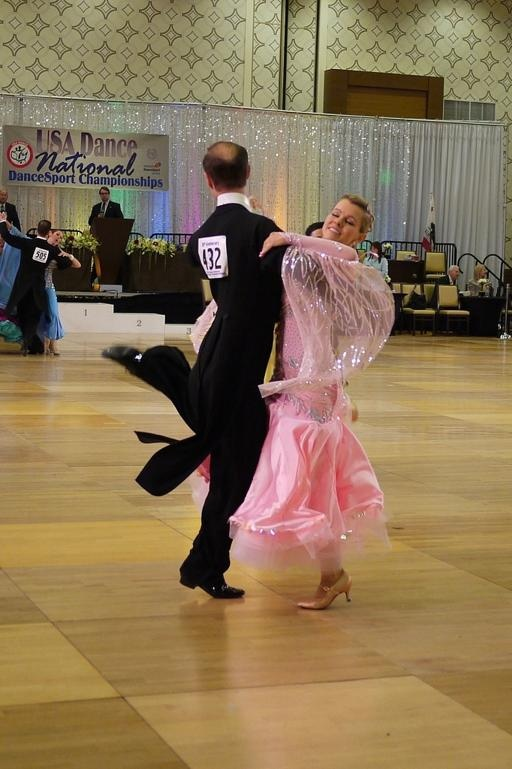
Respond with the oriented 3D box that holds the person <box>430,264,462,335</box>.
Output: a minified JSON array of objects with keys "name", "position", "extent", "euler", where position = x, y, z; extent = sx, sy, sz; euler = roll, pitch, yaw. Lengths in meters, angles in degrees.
[{"name":"person","position":[4.172,-1.959,14.522],"extent":[0.542,1.545,1.007],"euler":[3,-3,14]}]

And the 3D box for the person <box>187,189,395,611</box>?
[{"name":"person","position":[0.082,0.070,1.711],"extent":[0.634,1.002,0.503],"euler":[1,1,-11]}]

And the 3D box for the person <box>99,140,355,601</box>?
[{"name":"person","position":[-0.092,-0.033,1.816],"extent":[0.645,1.175,0.395],"euler":[5,6,24]}]

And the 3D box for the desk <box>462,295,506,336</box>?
[{"name":"desk","position":[5.092,-1.555,14.840],"extent":[0.966,0.813,0.908],"euler":[-3,6,-17]}]

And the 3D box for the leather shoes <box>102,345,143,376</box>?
[{"name":"leather shoes","position":[-0.371,-0.065,1.807],"extent":[0.066,0.049,0.153],"euler":[-28,19,-30]}]

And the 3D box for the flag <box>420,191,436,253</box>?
[{"name":"flag","position":[4.350,-4.080,16.401],"extent":[0.292,1.656,0.824],"euler":[3,-3,15]}]
